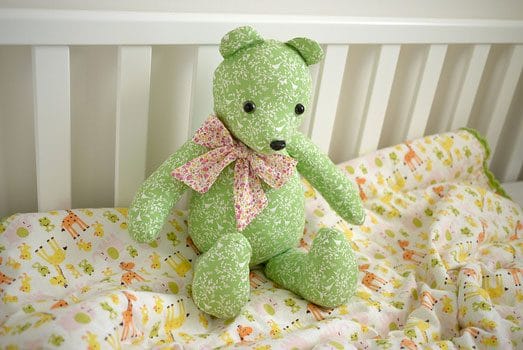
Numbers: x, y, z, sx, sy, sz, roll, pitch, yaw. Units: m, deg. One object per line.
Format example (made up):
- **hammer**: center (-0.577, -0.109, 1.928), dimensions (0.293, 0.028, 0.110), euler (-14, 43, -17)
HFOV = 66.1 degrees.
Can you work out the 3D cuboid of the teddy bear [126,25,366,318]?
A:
- **teddy bear**: center (-0.080, 0.000, 1.228), dimensions (0.742, 0.751, 0.451), euler (-9, 31, -27)
